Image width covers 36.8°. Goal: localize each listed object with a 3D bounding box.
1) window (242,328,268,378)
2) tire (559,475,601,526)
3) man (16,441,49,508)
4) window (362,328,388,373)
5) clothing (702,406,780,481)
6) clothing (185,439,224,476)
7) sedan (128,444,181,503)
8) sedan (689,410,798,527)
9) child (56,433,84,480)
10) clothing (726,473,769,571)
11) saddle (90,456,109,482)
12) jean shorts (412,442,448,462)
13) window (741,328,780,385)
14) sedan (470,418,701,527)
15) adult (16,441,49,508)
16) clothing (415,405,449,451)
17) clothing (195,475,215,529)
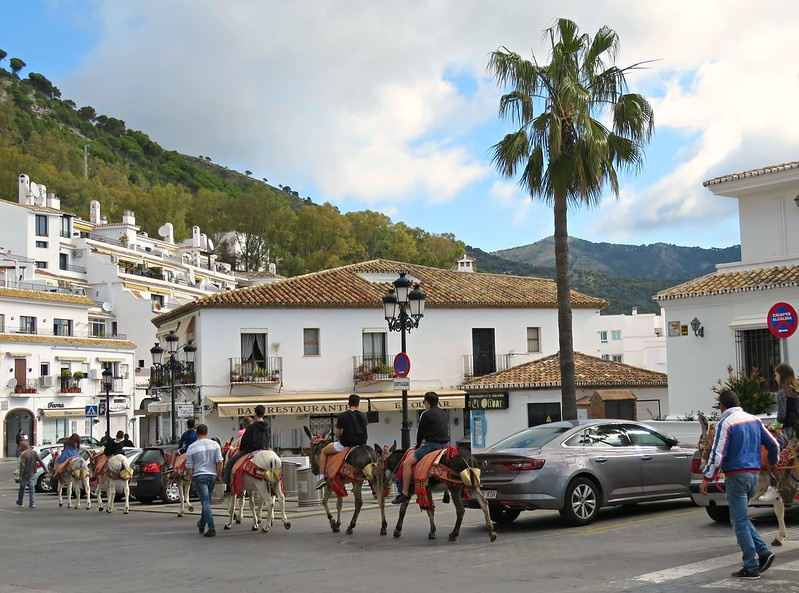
[{"bbox_3d":[-6.947,2.890,56.430,1.230,2.353,0.031,0,17,-11],"label":"window"},{"bbox_3d":[4.513,4.977,29.937,0.922,0.967,0.330,27,-21,-24],"label":"tire"},{"bbox_3d":[-12.859,6.045,41.564,0.962,2.250,0.778,1,-8,-16],"label":"man"},{"bbox_3d":[-1.273,2.519,58.563,1.367,2.450,0.252,-1,31,-1],"label":"window"},{"bbox_3d":[7.480,3.039,25.980,1.852,1.412,0.775,-5,4,-20],"label":"clothing"},{"bbox_3d":[-5.308,4.228,32.192,1.268,1.327,0.785,0,-6,-12],"label":"clothing"},{"bbox_3d":[-7.868,5.997,41.144,2.647,1.491,1.507,0,-1,-40],"label":"sedan"},{"bbox_3d":[8.319,4.363,29.667,1.874,1.919,4.140,-3,-3,37],"label":"sedan"},{"bbox_3d":[-10.995,5.116,39.350,0.601,1.343,1.431,4,-12,-23],"label":"child"},{"bbox_3d":[7.428,4.697,25.418,0.708,2.045,0.379,2,-10,-12],"label":"clothing"},{"bbox_3d":[-9.401,5.229,37.304,0.578,0.865,0.302,-4,-10,45],"label":"saddle"},{"bbox_3d":[0.689,3.735,29.714,0.569,0.185,0.518,-14,9,2],"label":"jean shorts"},{"bbox_3d":[12.220,1.950,40.058,0.110,2.639,1.908,-1,0,-39],"label":"window"},{"bbox_3d":[4.889,4.287,30.773,5.611,1.945,2.587,-1,-5,-31],"label":"sedan"},{"bbox_3d":[-12.858,6.067,41.678,1.012,2.271,0.864,4,-11,-31],"label":"adult"},{"bbox_3d":[0.896,3.209,30.023,0.967,1.106,0.673,6,-8,-41],"label":"clothing"},{"bbox_3d":[-5.200,5.383,31.685,0.565,1.489,1.047,1,-11,-10],"label":"clothing"}]
